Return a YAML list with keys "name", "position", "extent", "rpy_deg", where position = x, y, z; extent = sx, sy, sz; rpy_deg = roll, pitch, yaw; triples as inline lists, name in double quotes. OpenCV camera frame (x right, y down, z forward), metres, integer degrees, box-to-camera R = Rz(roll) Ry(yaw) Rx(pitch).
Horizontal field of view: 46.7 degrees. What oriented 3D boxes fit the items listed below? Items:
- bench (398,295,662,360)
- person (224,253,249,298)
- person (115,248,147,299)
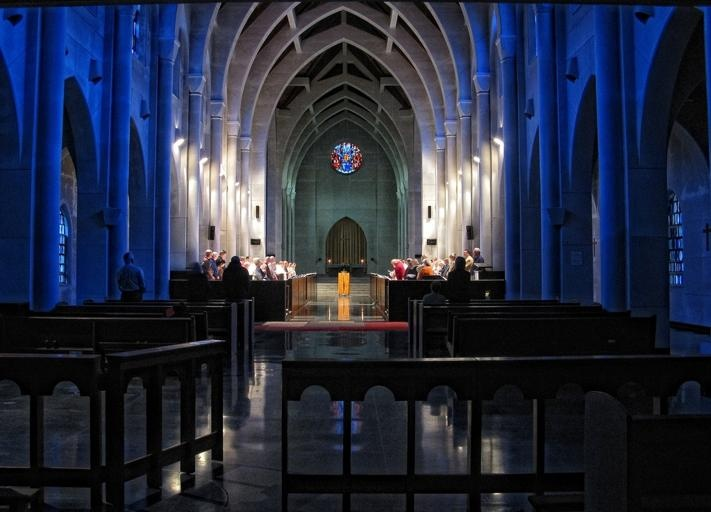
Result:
- name: "bench"
  position: [2.396, 1.040, 11.762]
  extent: [2.637, 0.882, 3.780]
  rpy_deg: [1, -5, -8]
- name: "person"
  position: [-2.219, 0.427, 15.235]
  extent: [0.466, 0.842, 0.658]
  rpy_deg: [1, -5, -8]
- name: "person"
  position: [-3.843, 0.369, 14.044]
  extent: [0.445, 0.840, 0.427]
  rpy_deg: [2, -5, -17]
